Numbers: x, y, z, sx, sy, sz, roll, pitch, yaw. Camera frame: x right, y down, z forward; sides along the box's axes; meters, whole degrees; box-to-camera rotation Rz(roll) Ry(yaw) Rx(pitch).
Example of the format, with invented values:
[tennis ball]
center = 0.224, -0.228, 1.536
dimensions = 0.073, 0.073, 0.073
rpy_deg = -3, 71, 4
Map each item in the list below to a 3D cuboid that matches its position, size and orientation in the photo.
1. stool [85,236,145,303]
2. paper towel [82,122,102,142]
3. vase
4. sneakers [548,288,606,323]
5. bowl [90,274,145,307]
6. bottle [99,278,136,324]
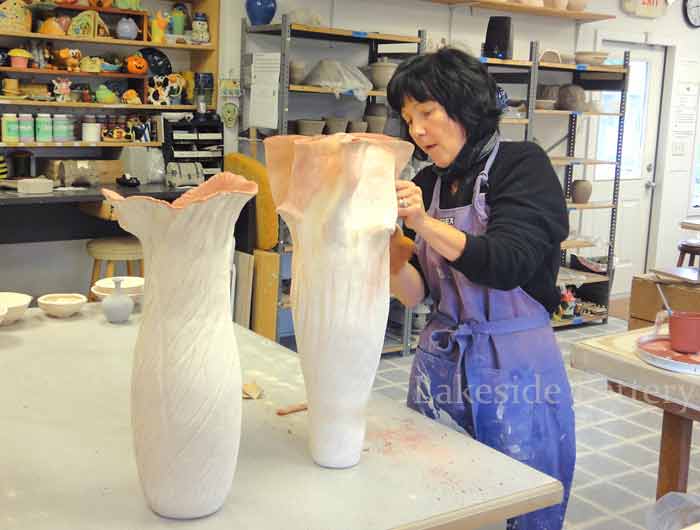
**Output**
[stool]
center = -1.547, 0.071, 3.867
dimensions = 0.357, 0.520, 0.352
rpy_deg = 21, 22, 39
[paper towel]
center = -1.755, -0.902, 3.908
dimensions = 0.132, 0.144, 0.130
rpy_deg = -5, 13, -44
[vase]
center = -0.141, 0.083, 1.094
dimensions = 0.540, 0.663, 0.259
rpy_deg = -9, 17, -41
[sneakers]
center = 2.002, 0.371, 5.063
dimensions = 0.374, 0.174, 0.293
rpy_deg = -5, 23, 22
[bowl]
center = -0.871, 0.096, 2.151
dimensions = 0.172, 0.070, 0.175
rpy_deg = 1, 13, 0
[bottle]
center = -0.780, 0.117, 1.924
dimensions = 0.128, 0.131, 0.129
rpy_deg = 8, 5, 26
